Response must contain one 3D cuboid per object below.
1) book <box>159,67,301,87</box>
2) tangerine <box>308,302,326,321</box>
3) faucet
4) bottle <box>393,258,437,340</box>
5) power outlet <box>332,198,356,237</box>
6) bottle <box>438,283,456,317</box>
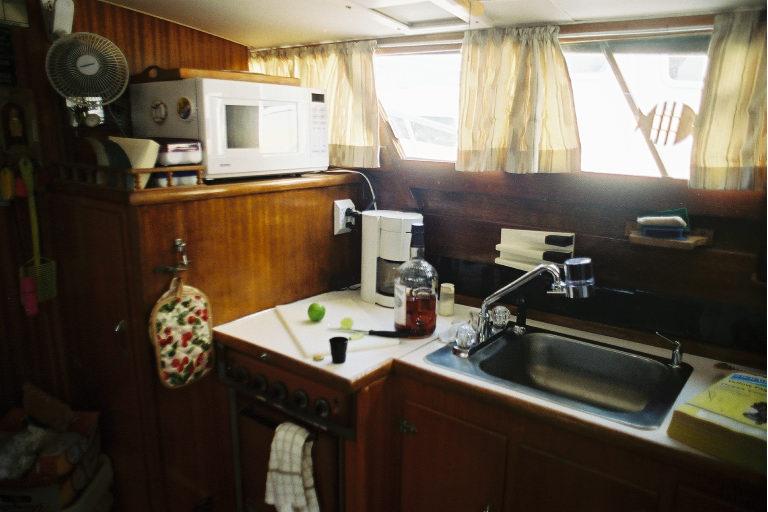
[{"bbox_3d":[-0.734,-0.844,2.531,0.836,0.077,0.569,15,24,42],"label":"book"},{"bbox_3d":[-0.318,0.264,2.575,0.085,0.086,0.075,5,12,-12],"label":"tangerine"},{"bbox_3d":[0.617,0.142,2.353,0.362,0.247,0.254,5,15,24],"label":"faucet"},{"bbox_3d":[0.133,0.183,2.493,0.167,0.350,0.204,11,16,44],"label":"bottle"},{"bbox_3d":[-0.221,-0.213,2.883,0.119,0.225,0.174,12,17,37],"label":"power outlet"},{"bbox_3d":[0.308,0.209,2.677,0.083,0.153,0.121,0,14,6],"label":"bottle"}]
